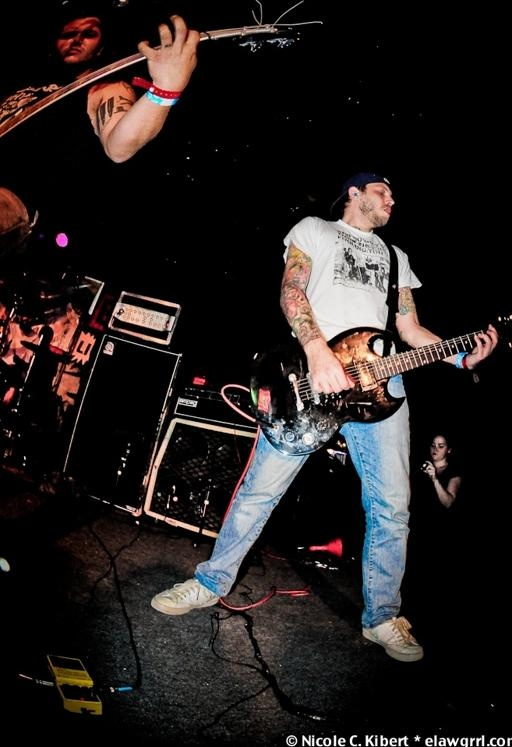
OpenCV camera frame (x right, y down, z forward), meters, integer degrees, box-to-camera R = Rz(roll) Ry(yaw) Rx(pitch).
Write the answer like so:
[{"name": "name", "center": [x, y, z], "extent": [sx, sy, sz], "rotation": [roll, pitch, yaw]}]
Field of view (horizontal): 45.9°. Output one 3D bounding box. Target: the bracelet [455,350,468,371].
[{"name": "bracelet", "center": [0.911, -0.064, 2.673], "extent": [0.046, 0.068, 0.069], "rotation": [17, 84, 32]}]

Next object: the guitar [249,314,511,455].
[{"name": "guitar", "center": [0.417, 0.029, 2.543], "extent": [0.885, 0.361, 0.386], "rotation": [-13, 45, -9]}]

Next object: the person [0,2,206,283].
[{"name": "person", "center": [-0.681, -1.002, 2.527], "extent": [0.336, 1.309, 0.380], "rotation": [5, 70, -30]}]

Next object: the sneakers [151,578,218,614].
[{"name": "sneakers", "center": [-0.300, 0.932, 2.572], "extent": [0.315, 0.130, 0.122], "rotation": [12, 16, -35]}]

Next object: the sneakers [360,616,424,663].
[{"name": "sneakers", "center": [0.537, 1.063, 2.413], "extent": [0.114, 0.238, 0.109], "rotation": [16, 65, -26]}]
